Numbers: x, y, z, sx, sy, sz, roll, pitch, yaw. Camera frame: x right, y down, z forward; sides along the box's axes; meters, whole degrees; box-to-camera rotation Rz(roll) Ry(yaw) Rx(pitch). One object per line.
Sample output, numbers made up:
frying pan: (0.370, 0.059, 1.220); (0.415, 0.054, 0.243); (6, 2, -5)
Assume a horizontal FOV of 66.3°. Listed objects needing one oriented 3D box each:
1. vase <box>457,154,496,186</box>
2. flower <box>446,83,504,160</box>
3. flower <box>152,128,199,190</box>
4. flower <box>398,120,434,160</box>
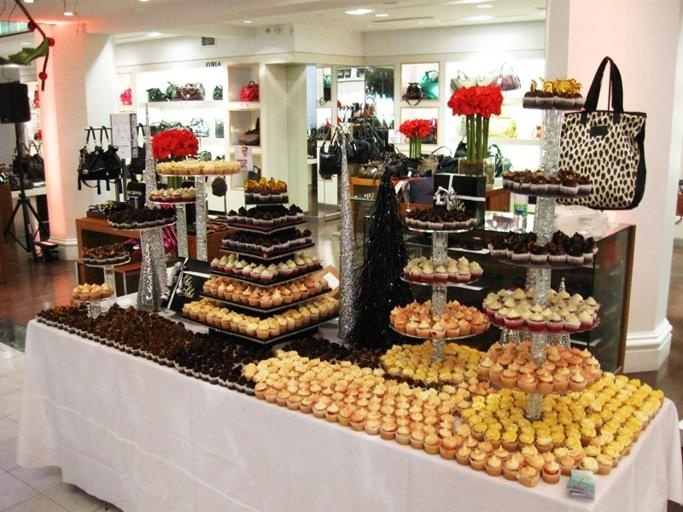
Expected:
vase: (1.294, -0.720, 4.741); (0.361, 0.340, 0.366); (2, 6, 41)
flower: (1.162, -1.163, 4.590); (0.440, 0.651, 0.353); (0, 13, 9)
flower: (-1.305, -0.781, 4.265); (0.487, 0.474, 0.483); (1, 10, -3)
flower: (1.025, -1.729, 7.698); (0.542, 0.552, 0.542); (-3, 0, -22)
